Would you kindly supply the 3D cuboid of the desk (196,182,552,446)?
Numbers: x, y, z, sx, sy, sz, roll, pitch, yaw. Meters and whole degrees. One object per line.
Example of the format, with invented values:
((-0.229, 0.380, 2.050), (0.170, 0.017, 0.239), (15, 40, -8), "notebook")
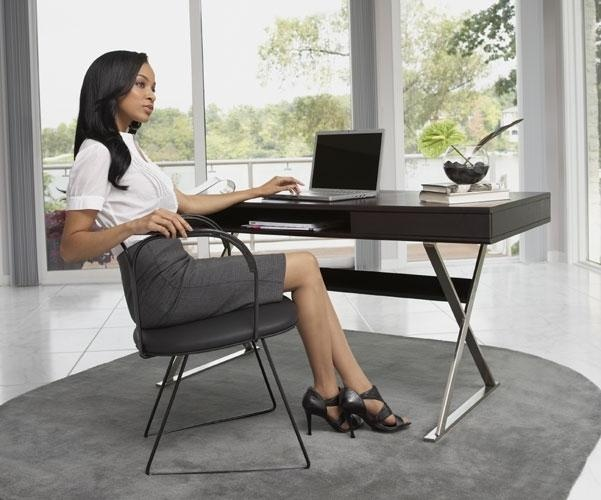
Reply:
((0.214, 0.217, 2.470), (1.661, 0.963, 0.860), (5, 10, 35), "desk")

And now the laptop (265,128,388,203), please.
((0.131, -0.410, 2.334), (0.509, 0.341, 0.437), (4, 7, 43), "laptop")

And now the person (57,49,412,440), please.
((-0.329, -0.039, 2.424), (1.655, 1.674, 0.976), (-3, 1, -12), "person")

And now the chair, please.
((-0.186, 0.294, 2.037), (0.853, 1.037, 0.941), (-2, 4, -7), "chair")
